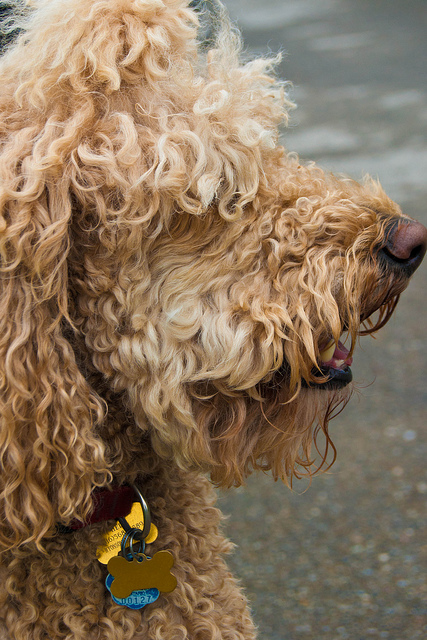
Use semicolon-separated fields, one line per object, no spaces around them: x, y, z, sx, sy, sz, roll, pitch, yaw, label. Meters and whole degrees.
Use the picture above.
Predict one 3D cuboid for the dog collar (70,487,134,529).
-0.302;0.503;2.076;0.138;0.098;0.052;-16;95;9;dog collar
